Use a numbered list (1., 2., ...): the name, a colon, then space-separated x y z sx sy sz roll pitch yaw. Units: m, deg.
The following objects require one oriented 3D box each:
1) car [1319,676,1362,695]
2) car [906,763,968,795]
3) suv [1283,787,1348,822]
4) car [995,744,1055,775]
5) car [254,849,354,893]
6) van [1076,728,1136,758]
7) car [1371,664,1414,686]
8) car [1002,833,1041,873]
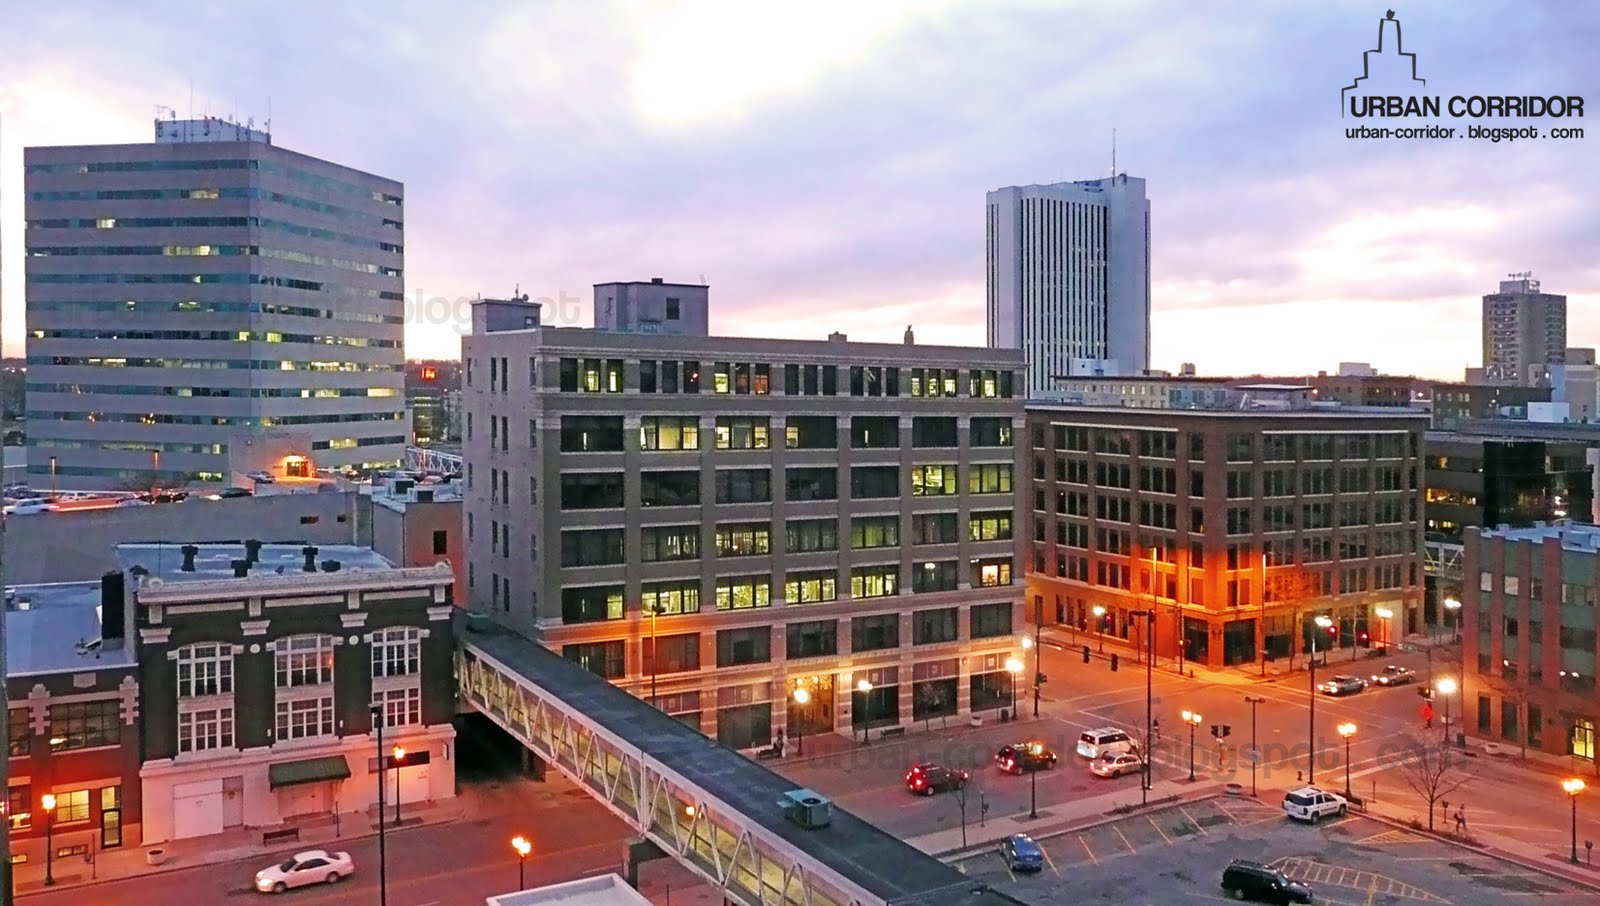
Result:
1. car: 65.356 28.220 176.478 5.700 2.354 3.346 -1 -1 -30
2. car: 13.901 33.884 151.770 5.328 2.023 2.846 -4 5 -15
3. suv: 52.593 35.736 148.540 5.583 2.355 3.013 -6 6 -26
4. car: 23.813 32.726 155.643 4.753 1.900 3.417 3 -9 -13
5. car: -46.499 38.976 136.585 8.954 2.387 3.526 2 0 -16
6. van: 33.246 31.509 157.430 5.652 2.428 2.902 -8 6 -16
7. car: 73.395 27.597 179.529 5.401 1.612 2.398 3 -5 -27
8. car: 21.493 38.763 140.411 3.745 3.582 2.149 -2 0 0
